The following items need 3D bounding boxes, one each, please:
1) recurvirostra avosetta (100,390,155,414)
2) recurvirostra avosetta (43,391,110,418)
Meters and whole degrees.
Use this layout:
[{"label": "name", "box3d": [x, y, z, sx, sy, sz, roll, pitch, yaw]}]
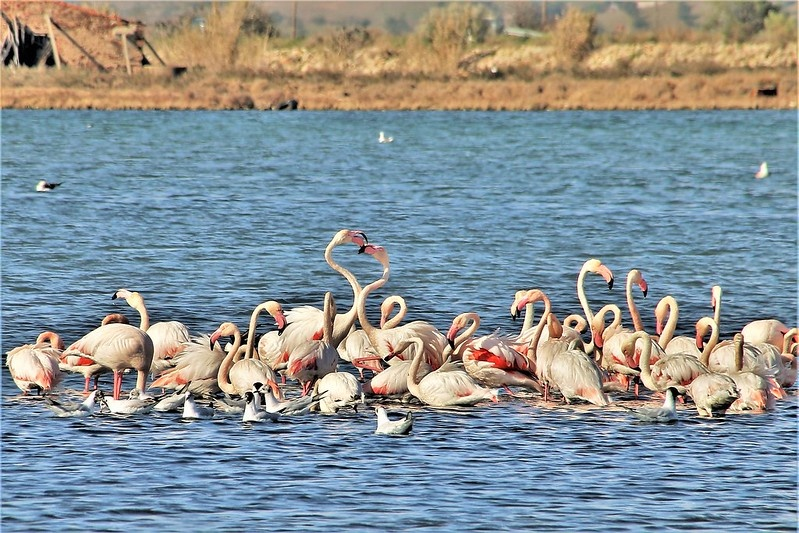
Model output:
[{"label": "recurvirostra avosetta", "box3d": [-6.864, 3.455, 38.529, 1.389, 0.775, 0.473, -8, -4, 1]}, {"label": "recurvirostra avosetta", "box3d": [-8.120, 3.440, 38.124, 1.349, 0.611, 0.830, -14, 42, -23]}]
